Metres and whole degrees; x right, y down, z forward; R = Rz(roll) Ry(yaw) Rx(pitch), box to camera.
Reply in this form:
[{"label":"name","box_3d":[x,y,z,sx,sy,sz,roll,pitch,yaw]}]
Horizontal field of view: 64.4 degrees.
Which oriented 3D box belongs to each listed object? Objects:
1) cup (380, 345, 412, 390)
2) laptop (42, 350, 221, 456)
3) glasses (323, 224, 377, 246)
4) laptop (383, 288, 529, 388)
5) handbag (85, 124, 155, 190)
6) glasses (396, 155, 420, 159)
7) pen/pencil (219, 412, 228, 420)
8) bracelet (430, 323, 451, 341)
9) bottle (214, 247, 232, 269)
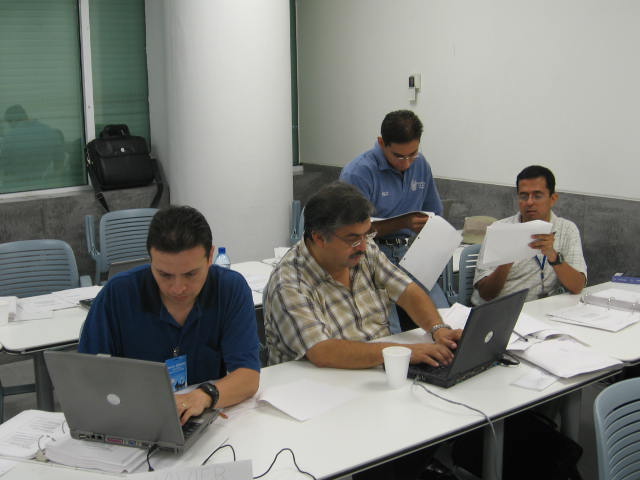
[{"label":"cup","box_3d":[0.283,0.470,1.943,0.128,0.147,0.130,0,9,0]},{"label":"laptop","box_3d":[-0.584,0.472,1.543,0.362,0.291,0.343,6,14,18]},{"label":"glasses","box_3d":[0.120,-0.010,2.106,0.119,0.039,0.119,-18,11,-39]},{"label":"laptop","box_3d":[0.598,0.387,2.024,0.368,0.278,0.415,3,11,45]},{"label":"handbag","box_3d":[-2.012,-0.803,5.021,0.580,0.575,0.300,-8,-3,-38]},{"label":"glasses","box_3d":[0.503,-0.477,2.927,0.128,0.028,0.038,-8,15,-31]},{"label":"pen/pencil","box_3d":[-0.333,0.598,1.752,0.027,0.029,0.028,-1,3,-24]},{"label":"bracelet","box_3d":[0.528,0.409,2.265,0.068,0.029,0.065,-16,13,-28]},{"label":"bottle","box_3d":[-0.706,0.123,3.645,0.113,0.226,0.118,-1,8,0]}]
